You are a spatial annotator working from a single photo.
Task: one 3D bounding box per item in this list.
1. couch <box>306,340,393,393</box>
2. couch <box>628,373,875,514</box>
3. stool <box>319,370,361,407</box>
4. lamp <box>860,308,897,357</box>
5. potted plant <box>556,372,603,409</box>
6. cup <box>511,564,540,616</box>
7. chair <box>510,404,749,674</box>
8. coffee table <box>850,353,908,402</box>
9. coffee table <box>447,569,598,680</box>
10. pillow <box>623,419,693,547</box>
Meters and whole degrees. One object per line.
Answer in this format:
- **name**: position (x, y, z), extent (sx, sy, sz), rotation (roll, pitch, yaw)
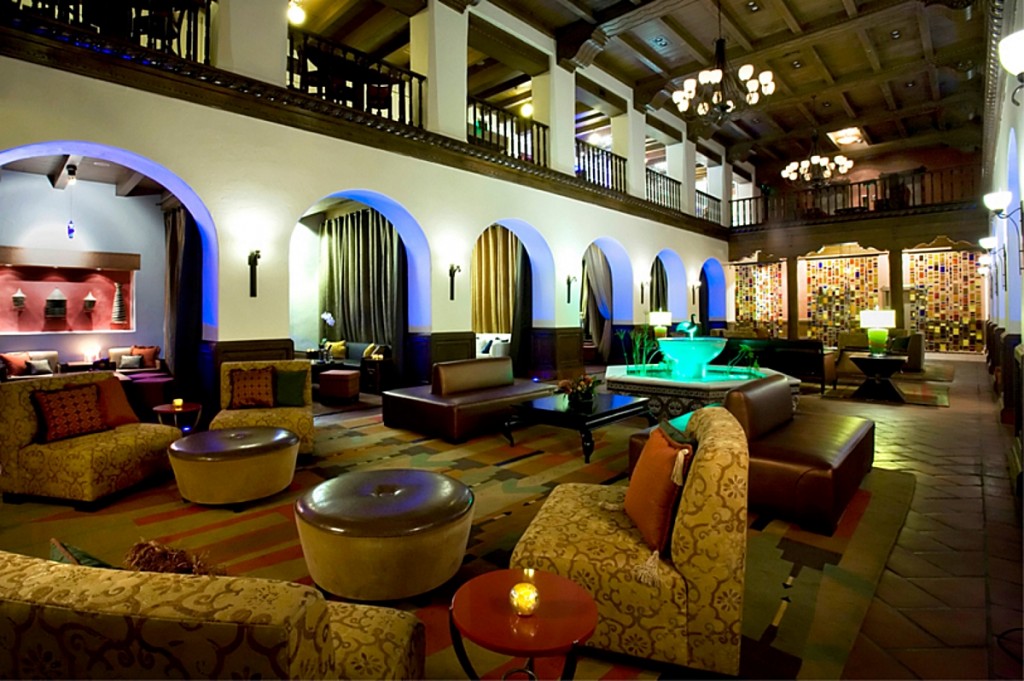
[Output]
- **couch**: position (-2.852, 0.401, 11.599), extent (1.919, 0.675, 0.599), rotation (5, 14, 40)
- **couch**: position (2.755, 0.965, 6.864), extent (1.774, 1.021, 2.537), rotation (5, 8, 36)
- **stool**: position (-2.707, 0.749, 10.384), extent (0.552, 0.474, 0.548), rotation (0, 4, 18)
- **lamp**: position (5.736, -0.123, 10.121), extent (0.634, 0.683, 0.639), rotation (1, -2, 20)
- **potted plant**: position (0.736, 0.560, 7.330), extent (0.391, 0.275, 0.410), rotation (0, 0, -44)
- **cup**: position (0.091, 1.738, 4.313), extent (0.179, 0.153, 0.226), rotation (1, 2, -10)
- **chair**: position (0.907, 1.428, 5.542), extent (1.857, 1.707, 1.781), rotation (4, 0, 12)
- **coffee table**: position (5.637, 0.556, 10.009), extent (0.786, 0.714, 0.791), rotation (0, 2, 16)
- **coffee table**: position (0.079, 1.814, 4.239), extent (0.822, 0.603, 0.771), rotation (2, 10, 17)
- **pillow**: position (1.129, 1.106, 4.908), extent (0.337, 0.920, 0.796), rotation (16, 1, -8)
